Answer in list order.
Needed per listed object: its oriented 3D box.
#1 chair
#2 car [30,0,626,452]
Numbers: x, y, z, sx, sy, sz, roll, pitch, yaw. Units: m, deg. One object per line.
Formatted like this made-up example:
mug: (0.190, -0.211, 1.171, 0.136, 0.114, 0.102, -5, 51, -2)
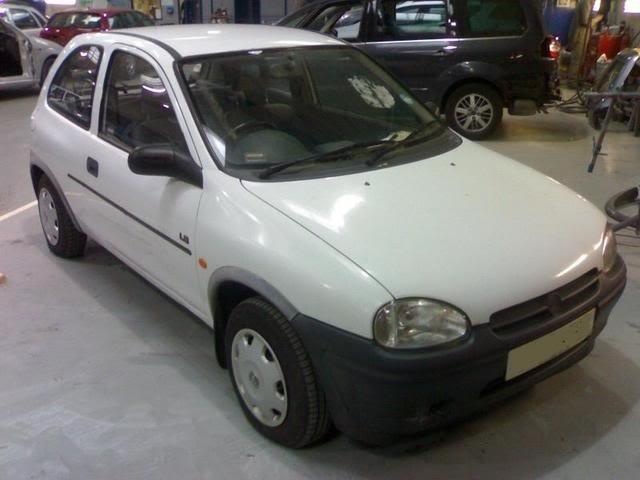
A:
chair: (-0.479, -0.785, 2.770, 0.648, 0.335, 0.904, -12, 44, -24)
car: (-0.314, -0.108, 3.086, 2.205, 1.554, 3.539, -22, 38, -33)
